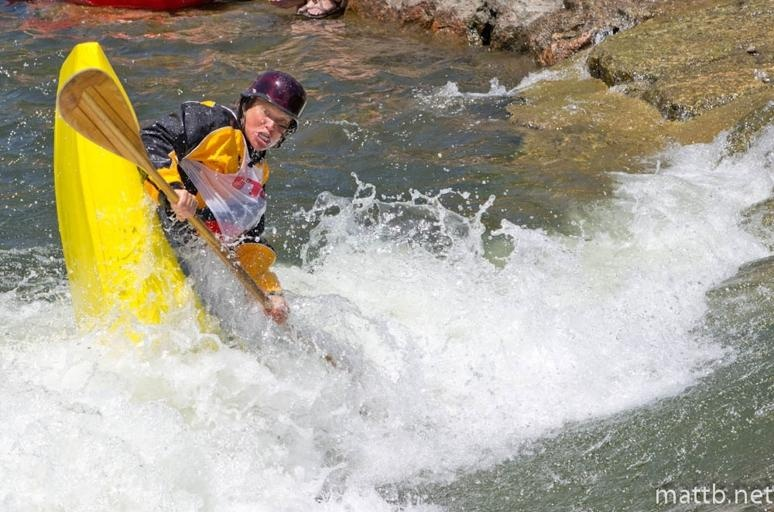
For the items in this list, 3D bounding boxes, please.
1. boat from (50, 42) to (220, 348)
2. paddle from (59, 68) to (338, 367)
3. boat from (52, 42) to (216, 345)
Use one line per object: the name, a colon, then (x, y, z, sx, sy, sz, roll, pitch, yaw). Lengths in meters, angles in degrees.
boat: (-2.322, -0.671, 9.143, 0.729, 2.847, 0.382, -22, 60, -12)
paddle: (-1.344, -0.209, 8.909, 0.551, 3.707, 0.286, -50, 32, -9)
boat: (-2.627, -0.466, 9.417, 0.906, 3.404, 0.460, -10, 68, -21)
